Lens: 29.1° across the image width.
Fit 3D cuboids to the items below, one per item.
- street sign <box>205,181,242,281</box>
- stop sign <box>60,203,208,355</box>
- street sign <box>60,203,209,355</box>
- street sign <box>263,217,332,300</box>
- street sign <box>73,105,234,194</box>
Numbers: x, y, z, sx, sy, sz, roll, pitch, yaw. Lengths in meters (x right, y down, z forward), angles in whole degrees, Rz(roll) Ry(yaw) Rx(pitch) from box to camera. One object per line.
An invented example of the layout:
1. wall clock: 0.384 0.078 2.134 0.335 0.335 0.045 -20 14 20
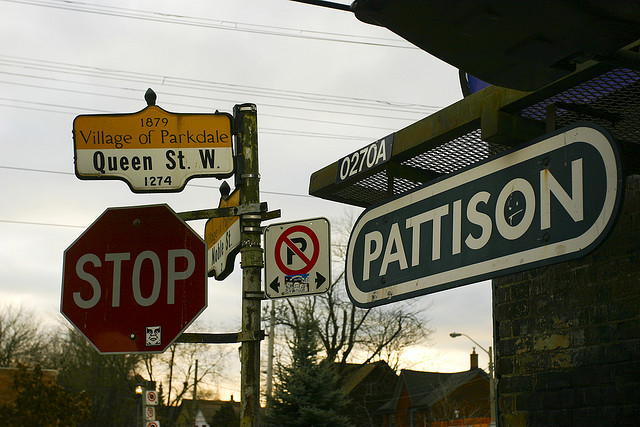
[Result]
1. street sign: -0.881 0.177 11.411 0.125 0.824 0.684 12 -25 -22
2. stop sign: -1.503 0.534 9.980 1.110 1.138 0.019 -1 -4 3
3. street sign: -1.499 0.531 9.965 1.116 1.093 0.041 -1 -5 3
4. street sign: -0.192 0.412 11.252 0.638 0.784 0.076 -6 -13 13
5. street sign: -1.556 -0.568 11.072 0.952 0.672 0.082 -1 -11 -9
